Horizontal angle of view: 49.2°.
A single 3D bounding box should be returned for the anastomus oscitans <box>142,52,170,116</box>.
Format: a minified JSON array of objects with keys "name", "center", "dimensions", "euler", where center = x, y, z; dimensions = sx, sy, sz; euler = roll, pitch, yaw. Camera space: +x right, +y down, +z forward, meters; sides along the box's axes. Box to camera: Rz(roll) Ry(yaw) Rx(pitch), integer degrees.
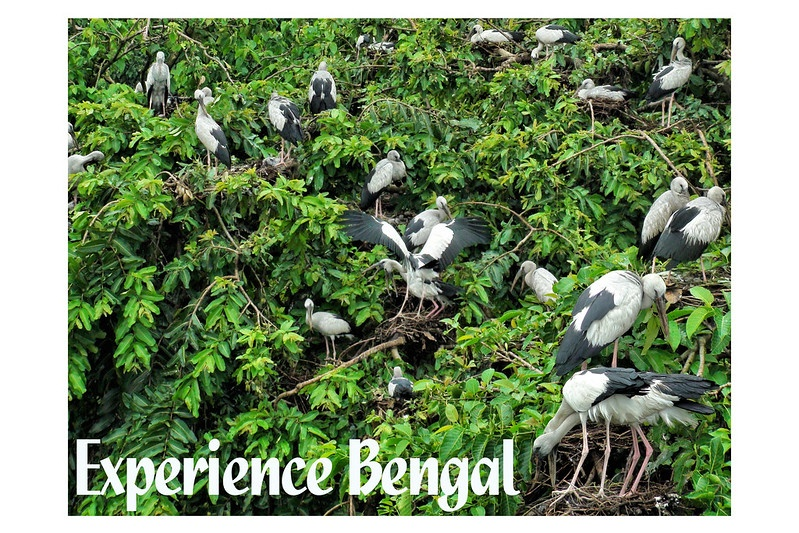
[{"name":"anastomus oscitans","center":[-2.414,-1.822,8.771],"dimensions":[0.224,0.556,0.394],"euler":[2,1,-16]}]
